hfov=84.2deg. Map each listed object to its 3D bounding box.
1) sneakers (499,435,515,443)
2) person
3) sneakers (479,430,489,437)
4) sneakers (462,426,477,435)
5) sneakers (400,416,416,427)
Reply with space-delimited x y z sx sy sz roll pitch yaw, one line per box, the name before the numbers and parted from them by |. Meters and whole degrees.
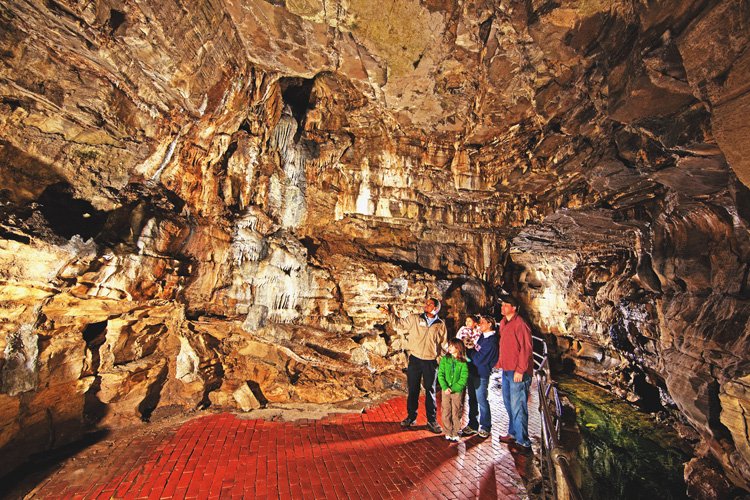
sneakers | 2.399 3.477 7.644 0.278 0.113 0.102 6 -19 26
person | 1.545 2.631 8.481 1.134 3.133 1.403 25 -30 -19
sneakers | 2.055 3.489 7.884 0.126 0.043 0.126 10 -2 -20
sneakers | 1.774 3.458 7.933 0.311 0.119 0.132 9 18 -23
sneakers | 0.646 3.479 8.390 0.297 0.207 0.150 13 -31 0
